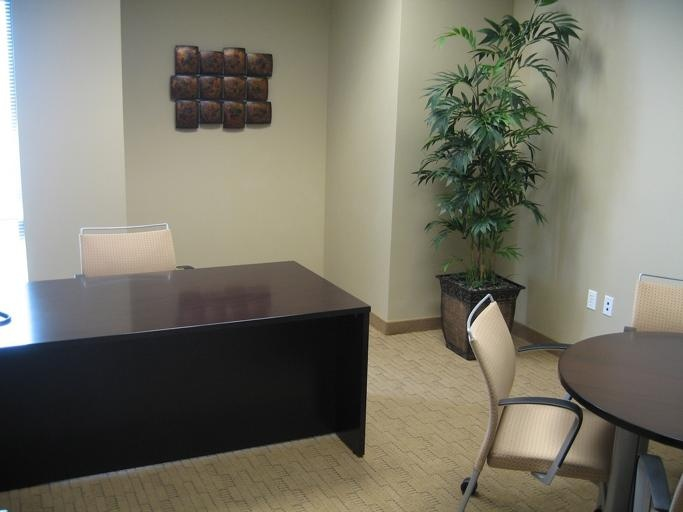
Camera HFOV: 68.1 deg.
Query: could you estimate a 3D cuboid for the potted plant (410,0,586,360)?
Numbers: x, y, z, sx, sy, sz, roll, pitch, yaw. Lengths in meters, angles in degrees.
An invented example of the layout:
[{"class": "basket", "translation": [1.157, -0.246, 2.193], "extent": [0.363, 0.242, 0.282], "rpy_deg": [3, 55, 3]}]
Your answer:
[{"class": "potted plant", "translation": [1.105, -0.580, 3.870], "extent": [1.134, 2.688, 0.896], "rpy_deg": [-7, 14, -27]}]
